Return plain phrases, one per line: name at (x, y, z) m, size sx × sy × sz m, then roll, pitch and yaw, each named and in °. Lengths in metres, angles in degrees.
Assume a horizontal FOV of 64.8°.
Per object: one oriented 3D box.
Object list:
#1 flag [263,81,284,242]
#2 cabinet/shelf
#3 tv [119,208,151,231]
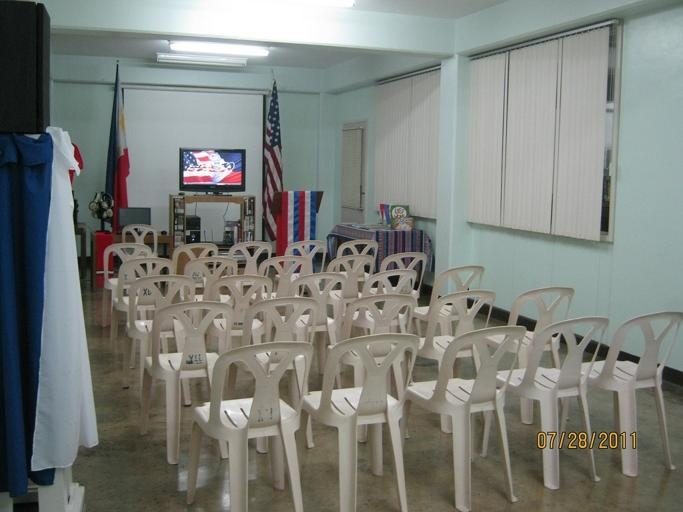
flag at (-1.378, -1.852, 10.723) m, size 0.340 × 3.162 × 0.945 m, roll 0°, pitch 7°, yaw -8°
cabinet/shelf at (-2.182, -0.469, 8.873) m, size 1.129 × 1.152 × 0.379 m, roll -4°, pitch 13°, yaw -21°
tv at (-3.436, -0.608, 8.906) m, size 0.470 × 0.396 × 0.145 m, roll -1°, pitch 3°, yaw -18°
